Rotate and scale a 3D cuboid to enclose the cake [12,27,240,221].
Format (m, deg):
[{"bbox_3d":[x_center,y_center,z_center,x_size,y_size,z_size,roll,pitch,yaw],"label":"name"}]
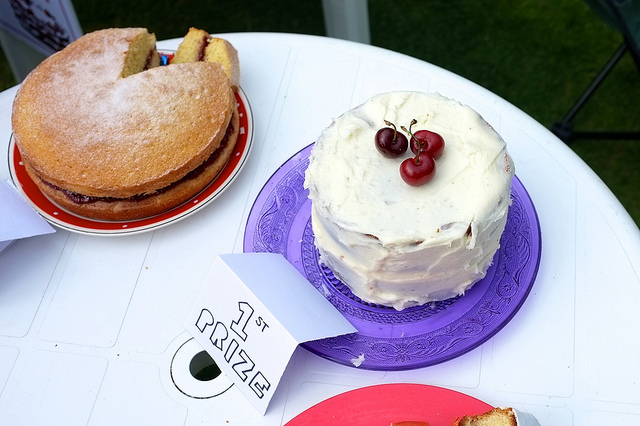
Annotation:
[{"bbox_3d":[-0.556,-0.232,1.855,0.590,0.511,0.630,-13,40,-9],"label":"cake"}]

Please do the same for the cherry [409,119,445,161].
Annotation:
[{"bbox_3d":[0.257,-0.174,1.414,0.079,0.116,0.073,14,82,25],"label":"cherry"}]

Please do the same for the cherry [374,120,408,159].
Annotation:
[{"bbox_3d":[0.191,-0.178,1.442,0.079,0.074,0.106,-5,88,12],"label":"cherry"}]

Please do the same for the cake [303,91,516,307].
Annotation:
[{"bbox_3d":[0.216,-0.047,1.480,0.513,0.283,0.548,5,73,0],"label":"cake"}]
